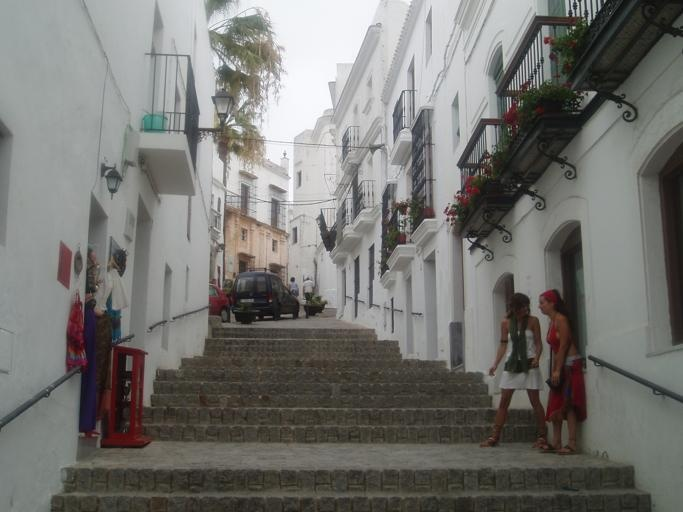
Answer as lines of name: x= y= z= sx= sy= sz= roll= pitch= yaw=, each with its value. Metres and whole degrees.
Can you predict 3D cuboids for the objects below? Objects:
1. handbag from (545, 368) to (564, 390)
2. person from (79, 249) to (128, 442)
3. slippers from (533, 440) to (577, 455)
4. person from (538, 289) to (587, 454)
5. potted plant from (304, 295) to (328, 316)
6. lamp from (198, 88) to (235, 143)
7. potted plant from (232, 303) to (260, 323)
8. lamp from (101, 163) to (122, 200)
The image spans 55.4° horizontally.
handbag: x=2.619 y=1.525 z=7.994 sx=0.160 sy=0.100 sz=0.228 roll=-31 pitch=0 yaw=-8
person: x=-2.878 y=0.998 z=7.992 sx=0.428 sy=2.292 sz=1.299 roll=2 pitch=-4 yaw=-14
slippers: x=2.676 y=2.397 z=8.049 sx=0.364 sy=0.121 sz=0.161 roll=8 pitch=-18 yaw=9
person: x=2.774 y=1.434 z=8.104 sx=0.531 sy=2.011 sz=0.574 roll=-1 pitch=-4 yaw=23
potted plant: x=-1.252 y=2.390 z=31.106 sx=0.831 sy=0.718 sz=0.912 roll=-1 pitch=-4 yaw=22
lamp: x=-2.358 y=-2.686 z=12.142 sx=0.592 sy=1.088 sz=0.349 roll=-2 pitch=-4 yaw=-14
potted plant: x=-3.412 y=2.032 z=22.605 sx=0.646 sy=0.448 sz=0.670 roll=7 pitch=-13 yaw=-35
lamp: x=-2.864 y=-0.943 z=8.091 sx=0.205 sy=0.459 sz=0.192 roll=1 pitch=-19 yaw=-18
